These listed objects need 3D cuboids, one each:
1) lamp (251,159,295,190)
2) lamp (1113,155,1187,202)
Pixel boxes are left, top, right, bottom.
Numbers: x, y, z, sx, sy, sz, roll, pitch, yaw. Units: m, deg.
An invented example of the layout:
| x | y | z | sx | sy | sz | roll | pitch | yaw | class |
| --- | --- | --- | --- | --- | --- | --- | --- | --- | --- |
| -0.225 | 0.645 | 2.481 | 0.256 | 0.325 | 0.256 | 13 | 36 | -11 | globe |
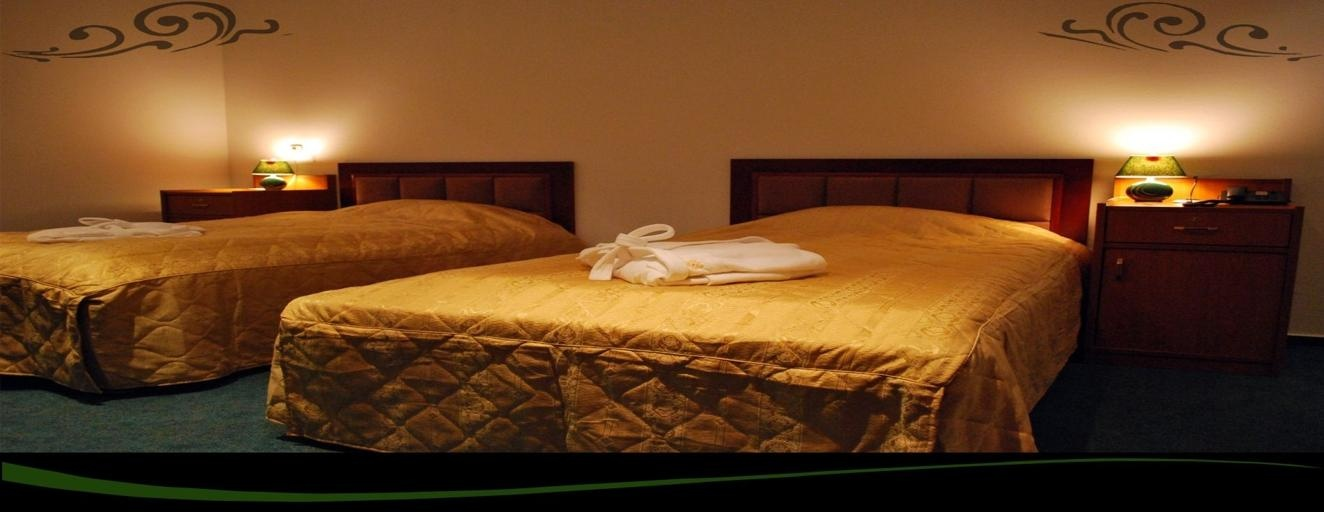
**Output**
| x | y | z | sx | sy | sz | roll | pitch | yaw | class |
| --- | --- | --- | --- | --- | --- | --- | --- | --- | --- |
| -4.384 | -0.912 | 8.238 | 0.585 | 0.265 | 0.459 | 3 | -1 | -16 | lamp |
| 4.468 | -0.727 | 6.741 | 0.699 | 0.312 | 0.537 | 1 | 2 | -9 | lamp |
